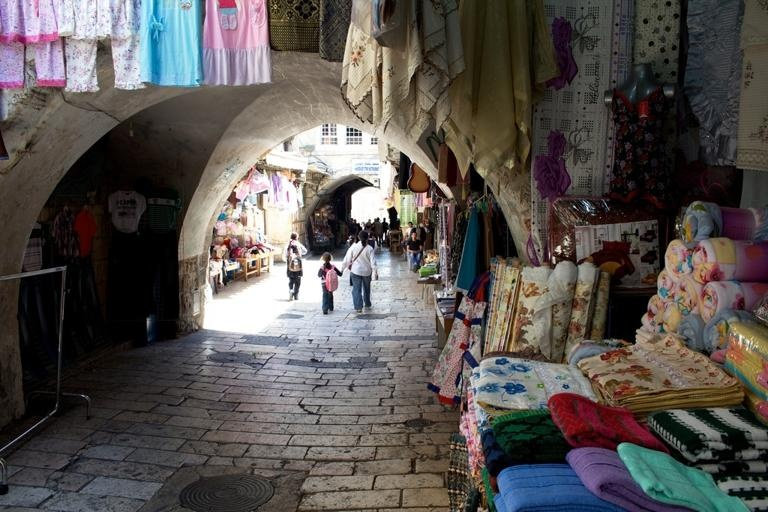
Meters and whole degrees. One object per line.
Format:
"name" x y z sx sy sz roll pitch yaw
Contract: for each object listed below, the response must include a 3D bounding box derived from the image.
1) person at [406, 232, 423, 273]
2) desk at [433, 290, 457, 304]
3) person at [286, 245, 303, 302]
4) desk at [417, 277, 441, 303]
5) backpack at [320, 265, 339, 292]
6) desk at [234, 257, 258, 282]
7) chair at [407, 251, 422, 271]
"person" 1.177 -0.116 18.609 0.517 1.461 1.408 2 7 4
"desk" 0.918 0.627 7.478 0.251 0.230 0.657 1 7 2
"person" -2.378 0.409 13.007 0.335 1.512 0.656 0 7 -11
"desk" 1.001 0.854 12.396 0.769 0.736 0.770 0 -1 -4
"backpack" -1.271 0.567 11.597 0.306 0.621 0.275 -1 7 -20
"desk" -4.518 0.337 16.278 0.543 0.786 1.796 1 7 -2
"chair" 1.183 0.189 18.575 0.420 0.734 0.745 -1 6 1
